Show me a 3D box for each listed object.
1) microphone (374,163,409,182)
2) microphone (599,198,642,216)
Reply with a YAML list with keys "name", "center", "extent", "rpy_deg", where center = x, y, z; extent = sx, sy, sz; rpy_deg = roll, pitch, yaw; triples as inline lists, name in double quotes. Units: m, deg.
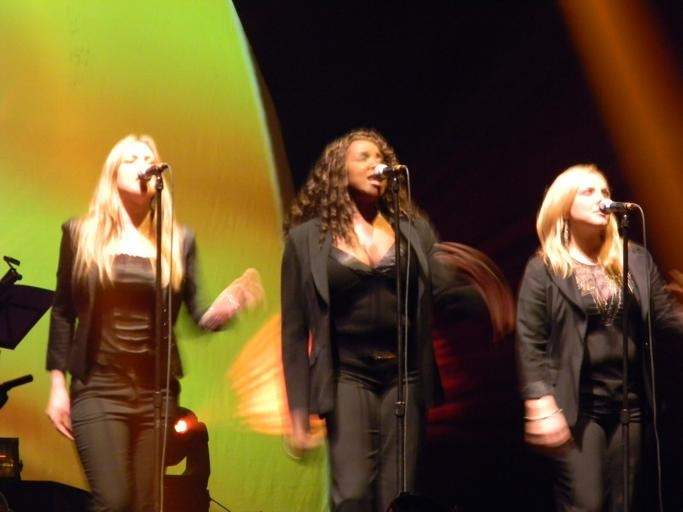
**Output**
- name: "microphone"
  center: [0.281, -0.481, 4.625]
  extent: [0.094, 0.108, 0.326]
  rpy_deg: [-4, -1, -19]
- name: "microphone"
  center: [1.753, -0.288, 4.868]
  extent: [0.111, 0.127, 0.363]
  rpy_deg: [-2, 0, -37]
